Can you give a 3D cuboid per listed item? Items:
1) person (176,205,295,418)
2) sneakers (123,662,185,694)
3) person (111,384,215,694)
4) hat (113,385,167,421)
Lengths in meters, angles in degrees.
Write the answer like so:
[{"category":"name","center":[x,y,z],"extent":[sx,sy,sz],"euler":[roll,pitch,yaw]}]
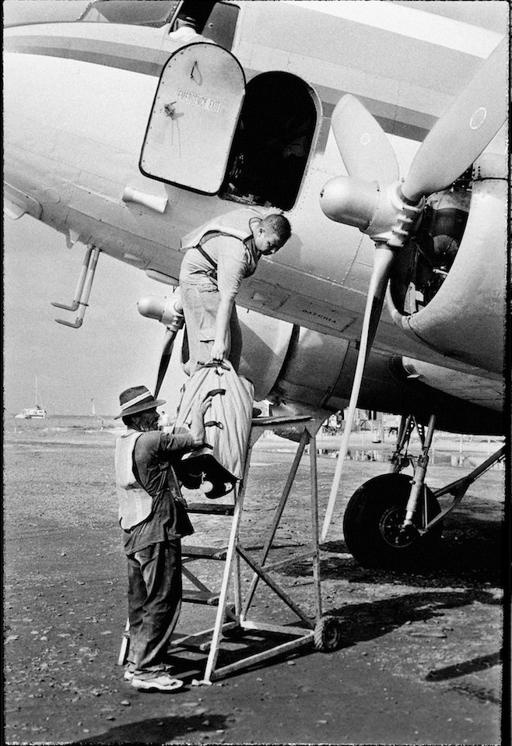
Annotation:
[{"category":"person","center":[-0.188,-0.567,4.590],"extent":[0.611,0.937,0.918],"euler":[9,4,-18]},{"category":"sneakers","center":[-0.559,1.749,3.892],"extent":[0.370,0.174,0.140],"euler":[2,18,4]},{"category":"person","center":[-0.541,0.982,3.998],"extent":[0.432,1.325,0.706],"euler":[7,5,-39]},{"category":"hat","center":[-0.673,0.193,3.982],"extent":[0.287,0.154,0.279],"euler":[-4,-13,-44]}]
